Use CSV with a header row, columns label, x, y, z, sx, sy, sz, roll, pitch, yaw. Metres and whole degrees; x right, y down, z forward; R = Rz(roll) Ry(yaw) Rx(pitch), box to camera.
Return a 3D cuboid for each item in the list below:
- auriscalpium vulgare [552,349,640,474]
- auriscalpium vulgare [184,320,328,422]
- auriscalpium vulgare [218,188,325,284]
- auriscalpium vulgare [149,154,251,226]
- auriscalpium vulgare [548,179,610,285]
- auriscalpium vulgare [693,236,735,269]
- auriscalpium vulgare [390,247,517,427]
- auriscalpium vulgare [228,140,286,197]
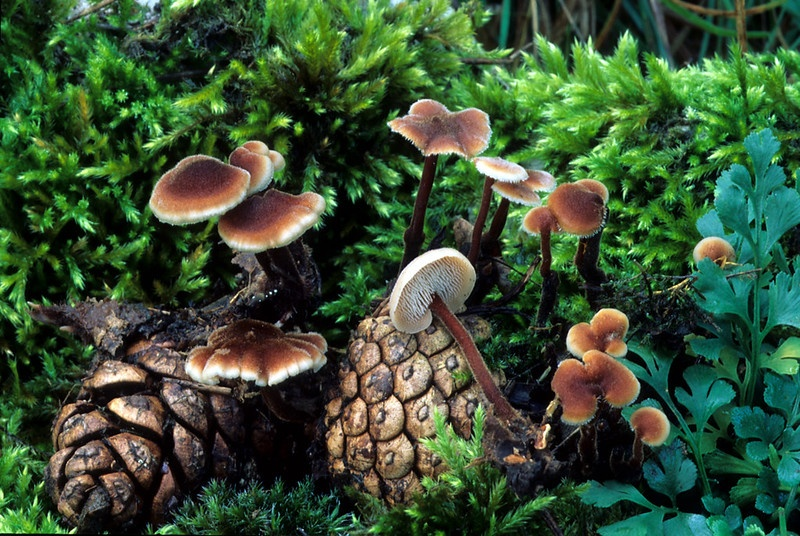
label,x,y,z,sx,sy,sz,roll,pitch,yaw
auriscalpium vulgare,0.922,0.663,3.799,0.419,0.494,0.436,-24,43,-14
auriscalpium vulgare,-0.706,0.456,4.025,0.538,0.237,0.512,9,29,-1
auriscalpium vulgare,-0.648,-0.170,4.056,0.372,0.417,0.386,12,50,14
auriscalpium vulgare,-0.968,-0.437,4.064,0.532,0.240,0.569,4,25,35
auriscalpium vulgare,0.927,-0.174,4.123,0.229,0.467,0.326,11,50,19
auriscalpium vulgare,1.605,-0.083,4.027,0.206,0.137,0.184,-2,29,21
auriscalpium vulgare,0.295,0.276,3.974,0.600,0.749,0.417,7,32,33
auriscalpium vulgare,-0.738,-0.550,4.134,0.288,0.083,0.295,37,54,17
